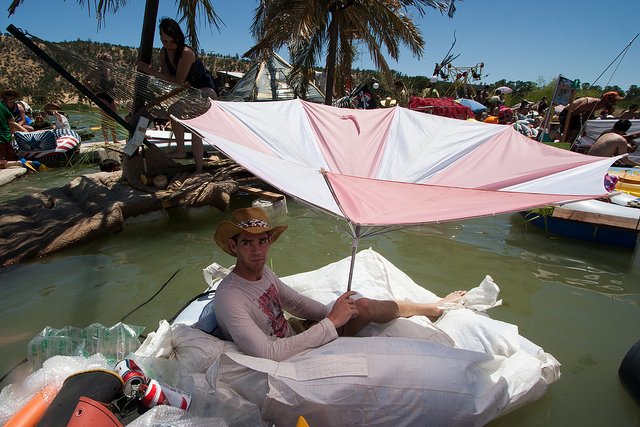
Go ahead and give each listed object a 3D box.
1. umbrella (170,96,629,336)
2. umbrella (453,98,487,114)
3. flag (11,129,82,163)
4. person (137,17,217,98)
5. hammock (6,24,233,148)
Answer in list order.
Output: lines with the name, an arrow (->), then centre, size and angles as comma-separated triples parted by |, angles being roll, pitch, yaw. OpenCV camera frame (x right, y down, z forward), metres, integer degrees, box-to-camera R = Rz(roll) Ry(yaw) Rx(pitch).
umbrella -> 0.860, -0.665, 3.966 | 4.329, 1.036, 2.263 | 4, 19, 2
umbrella -> 7.610, -5.498, 17.586 | 1.527, 0.519, 1.523 | 1, 23, -31
flag -> -8.149, -2.190, 10.245 | 1.681, 0.795, 1.970 | -5, 28, -25
person -> -2.553, -2.758, 6.266 | 1.278, 1.227, 0.651 | -4, 19, -18
hammock -> -3.301, -1.974, 6.020 | 2.675, 1.786, 0.905 | -10, 22, -32
